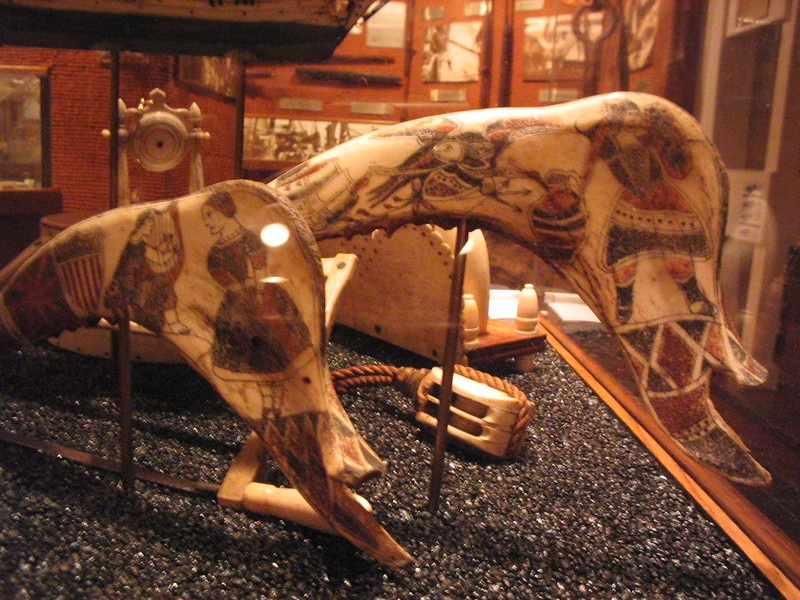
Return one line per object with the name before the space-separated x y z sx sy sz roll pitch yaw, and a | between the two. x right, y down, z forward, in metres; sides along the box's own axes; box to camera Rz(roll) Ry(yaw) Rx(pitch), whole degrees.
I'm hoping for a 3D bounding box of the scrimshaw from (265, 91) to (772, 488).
scrimshaw | 0.253 -0.028 1.491 0.917 0.585 0.148 1 10 14
